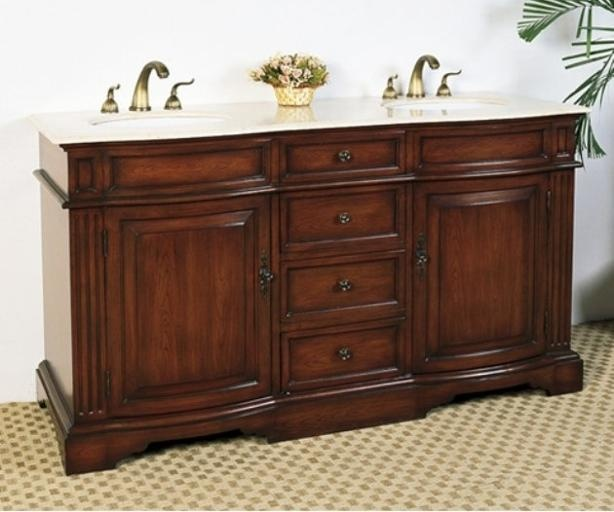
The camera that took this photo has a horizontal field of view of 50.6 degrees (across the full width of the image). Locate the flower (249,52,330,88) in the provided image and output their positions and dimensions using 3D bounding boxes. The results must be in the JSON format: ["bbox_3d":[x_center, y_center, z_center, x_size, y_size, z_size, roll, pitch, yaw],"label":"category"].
[{"bbox_3d":[-0.044,-0.674,2.272,0.198,0.073,0.208,-4,19,16],"label":"flower"}]

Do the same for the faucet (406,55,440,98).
[{"bbox_3d":[0.440,-0.679,2.470,0.060,0.147,0.177,-7,10,-22],"label":"faucet"}]

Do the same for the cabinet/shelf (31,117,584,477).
[{"bbox_3d":[-0.042,0.125,2.025,1.169,0.593,0.401,-5,13,-21],"label":"cabinet/shelf"}]

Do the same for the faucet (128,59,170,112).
[{"bbox_3d":[-0.516,-0.542,2.106,0.071,0.136,0.198,-6,6,-44],"label":"faucet"}]
